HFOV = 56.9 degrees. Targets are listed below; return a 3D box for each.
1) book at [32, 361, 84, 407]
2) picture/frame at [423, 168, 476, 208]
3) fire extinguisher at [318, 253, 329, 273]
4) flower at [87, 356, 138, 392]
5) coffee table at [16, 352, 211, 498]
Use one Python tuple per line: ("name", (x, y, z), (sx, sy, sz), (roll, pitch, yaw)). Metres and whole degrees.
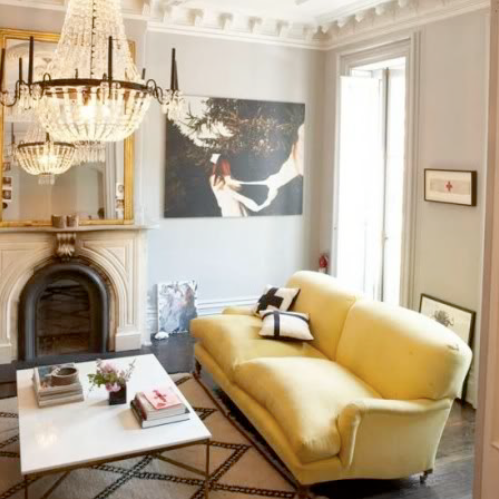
("book", (-1.087, 0.740, 2.586), (0.183, 0.091, 0.253), (-1, 3, -28))
("picture/frame", (1.598, -0.501, 3.690), (0.065, 0.301, 0.544), (-3, 6, -17))
("fire extinguisher", (0.828, 0.157, 5.287), (0.109, 0.223, 0.246), (-2, 6, -11))
("flower", (-0.724, 0.713, 2.525), (0.188, 0.155, 0.253), (-4, -2, 26))
("coffee table", (-0.770, 0.996, 2.481), (0.841, 0.474, 1.020), (-4, 7, -27))
